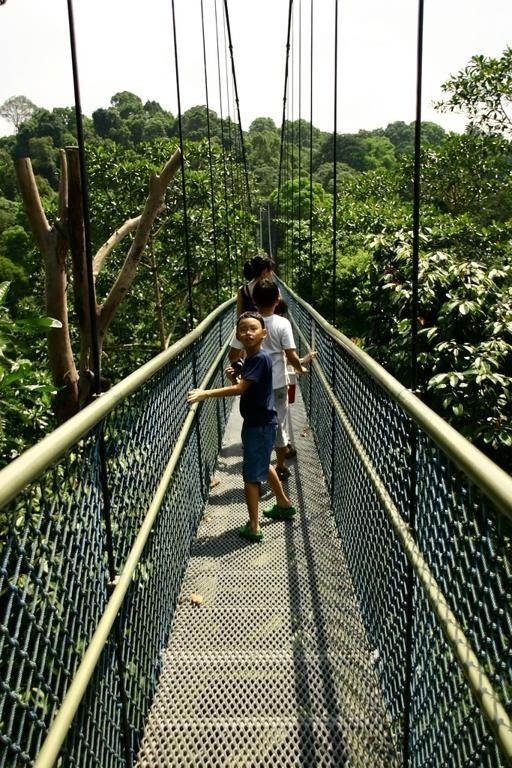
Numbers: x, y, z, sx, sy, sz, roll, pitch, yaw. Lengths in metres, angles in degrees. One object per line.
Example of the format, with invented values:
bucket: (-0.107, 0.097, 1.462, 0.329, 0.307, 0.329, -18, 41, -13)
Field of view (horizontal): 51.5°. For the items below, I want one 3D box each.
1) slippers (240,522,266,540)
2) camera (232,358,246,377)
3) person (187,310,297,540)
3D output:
slippers: (-0.018, 0.790, 2.842, 0.064, 0.070, 0.141, -10, 22, -27)
camera: (-0.092, -0.090, 2.841, 0.064, 0.100, 0.097, 2, 38, -1)
person: (-0.058, 0.248, 2.749, 0.332, 1.201, 0.737, 2, 12, 23)
